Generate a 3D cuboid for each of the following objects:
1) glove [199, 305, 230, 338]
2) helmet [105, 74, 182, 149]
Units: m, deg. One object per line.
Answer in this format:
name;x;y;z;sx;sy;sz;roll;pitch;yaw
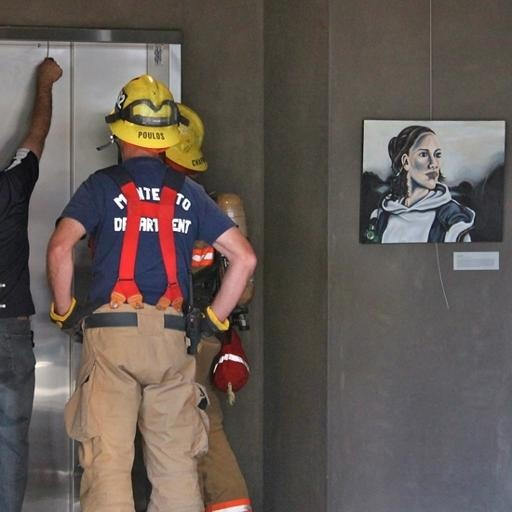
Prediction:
glove;-0.168;0.258;3.205;0.114;0.121;0.097;-25;-4;7
helmet;-0.426;-0.544;3.159;0.242;0.168;0.310;-1;42;-25
